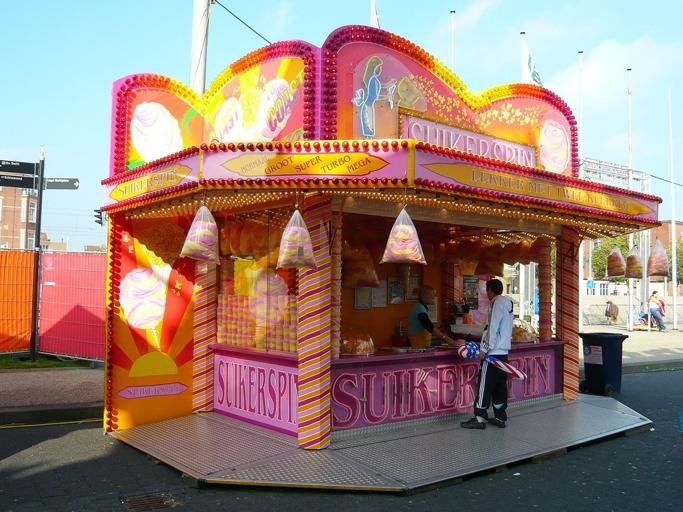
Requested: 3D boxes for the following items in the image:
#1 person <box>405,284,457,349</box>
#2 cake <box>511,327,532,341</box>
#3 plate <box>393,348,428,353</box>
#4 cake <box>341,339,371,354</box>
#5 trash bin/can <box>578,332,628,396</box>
[{"bbox_3d":[1.456,1.225,10.846,0.612,1.383,0.924,1,19,-14],"label":"person"},{"bbox_3d":[3.268,1.408,11.447,0.340,0.205,0.336,0,-3,-6],"label":"cake"},{"bbox_3d":[1.085,1.468,9.943,0.560,0.044,0.377,1,4,1],"label":"plate"},{"bbox_3d":[0.237,1.324,9.307,0.284,0.138,0.278,1,-5,-17],"label":"cake"},{"bbox_3d":[5.333,2.202,13.038,0.805,1.222,0.689,3,4,28],"label":"trash bin/can"}]
